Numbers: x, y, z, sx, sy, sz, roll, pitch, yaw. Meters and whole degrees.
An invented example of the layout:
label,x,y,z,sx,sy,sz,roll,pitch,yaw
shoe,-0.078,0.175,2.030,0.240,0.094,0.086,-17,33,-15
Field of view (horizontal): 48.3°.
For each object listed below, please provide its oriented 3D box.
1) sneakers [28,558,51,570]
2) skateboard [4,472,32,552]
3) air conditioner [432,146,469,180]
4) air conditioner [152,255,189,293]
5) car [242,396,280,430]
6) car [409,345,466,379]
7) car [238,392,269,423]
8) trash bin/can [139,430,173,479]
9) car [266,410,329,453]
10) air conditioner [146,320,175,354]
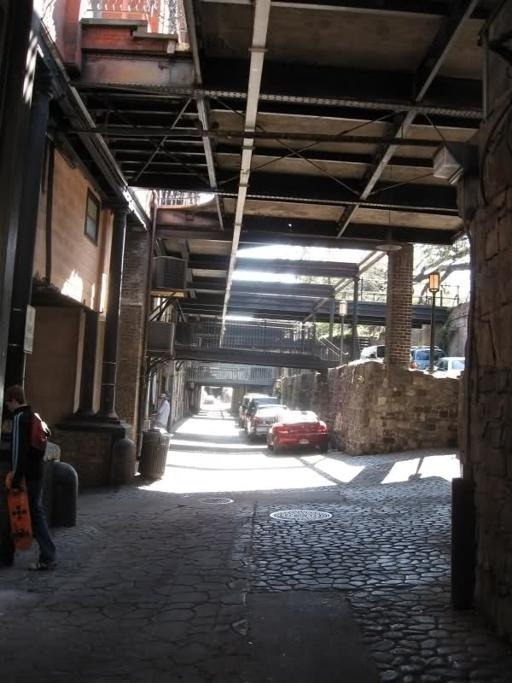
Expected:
label,x,y,z,sx,sy,sz,roll,pitch,yaw
sneakers,-2.091,2.159,5.511,0.243,0.083,0.166,-1,-7,5
skateboard,-2.277,1.615,5.460,0.244,0.709,0.249,3,-8,-23
air conditioner,1.797,-1.627,5.242,0.269,0.262,0.257,4,4,-5
air conditioner,-2.684,-1.893,17.732,0.908,1.156,1.570,1,-1,13
car,0.105,3.433,27.890,1.215,1.011,2.755,0,-1,0
car,7.295,0.817,23.134,1.158,1.084,2.521,1,6,6
car,-0.192,3.945,34.431,1.727,1.631,3.799,1,-2,-3
trash bin/can,-2.283,2.497,12.698,0.616,1.123,0.623,2,-7,-14
car,1.383,3.053,19.376,1.958,1.360,1.178,-2,-7,12
air conditioner,-2.712,-0.123,15.948,1.127,1.093,0.775,2,-4,-14
